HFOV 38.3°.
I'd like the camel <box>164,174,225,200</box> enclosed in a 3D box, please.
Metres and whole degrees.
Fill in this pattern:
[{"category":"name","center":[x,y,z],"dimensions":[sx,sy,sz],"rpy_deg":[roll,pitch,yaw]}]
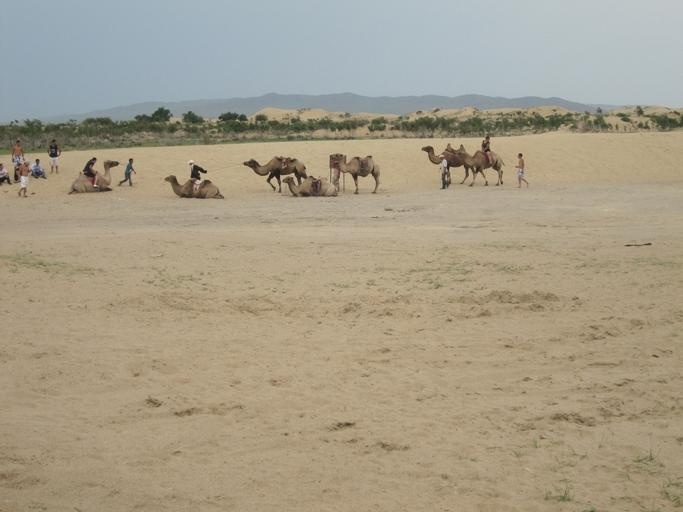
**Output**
[{"category":"camel","center":[-4.842,-2.319,32.960],"dimensions":[2.250,1.180,0.781],"rpy_deg":[4,2,7]}]

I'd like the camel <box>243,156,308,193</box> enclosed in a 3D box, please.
[{"category":"camel","center":[-2.245,-2.941,35.027],"dimensions":[2.326,1.197,0.529],"rpy_deg":[-6,12,-5]}]

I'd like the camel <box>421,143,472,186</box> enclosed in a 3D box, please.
[{"category":"camel","center":[3.976,-3.216,36.639],"dimensions":[1.686,1.763,1.595],"rpy_deg":[-3,16,-19]}]

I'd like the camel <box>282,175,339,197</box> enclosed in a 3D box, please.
[{"category":"camel","center":[-1.163,-2.350,33.652],"dimensions":[2.051,1.017,0.668],"rpy_deg":[4,2,4]}]
